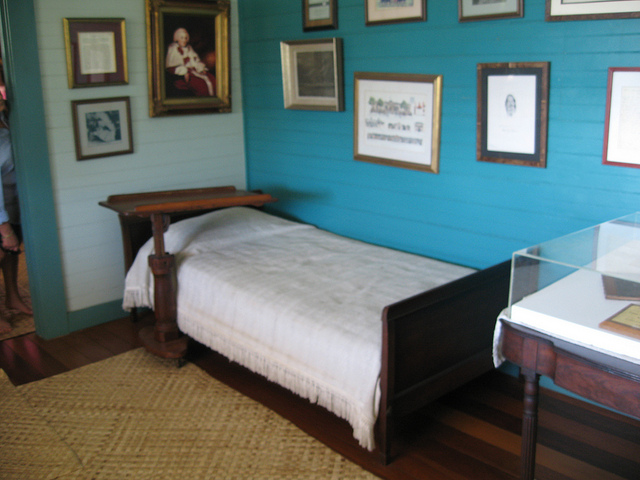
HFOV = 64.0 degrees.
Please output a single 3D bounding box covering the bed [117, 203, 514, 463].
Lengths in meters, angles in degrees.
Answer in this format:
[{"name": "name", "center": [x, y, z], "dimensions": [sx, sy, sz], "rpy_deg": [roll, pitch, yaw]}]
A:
[{"name": "bed", "center": [-0.175, 0.409, 4.401], "dimensions": [3.071, 1.168, 1.821], "rpy_deg": [16, 23, 42]}]
